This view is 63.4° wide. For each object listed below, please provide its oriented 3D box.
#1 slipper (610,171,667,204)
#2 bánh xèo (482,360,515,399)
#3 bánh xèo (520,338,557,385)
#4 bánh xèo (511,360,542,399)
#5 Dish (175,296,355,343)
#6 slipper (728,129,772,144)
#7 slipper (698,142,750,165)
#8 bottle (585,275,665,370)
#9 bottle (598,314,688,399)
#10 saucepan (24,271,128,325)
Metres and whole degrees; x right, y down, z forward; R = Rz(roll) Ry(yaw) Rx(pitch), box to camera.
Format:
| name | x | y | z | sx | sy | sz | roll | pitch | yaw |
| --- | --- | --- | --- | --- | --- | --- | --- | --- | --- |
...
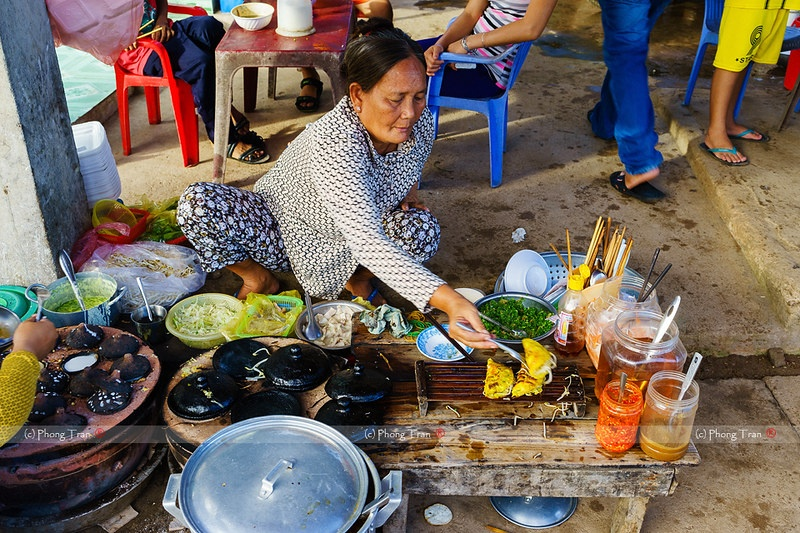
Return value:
| name | x | y | z | sx | sy | sz | roll | pitch | yaw |
| --- | --- | --- | --- | --- | --- | --- | --- | --- | --- |
| slipper | 2.043 | -0.659 | 5.626 | 0.468 | 0.124 | 0.220 | 34 | 60 | 26 |
| bánh xèo | 0.515 | 0.607 | 3.415 | 0.174 | 0.067 | 0.177 | 6 | 62 | 4 |
| bánh xèo | 0.718 | 0.495 | 3.345 | 0.236 | 0.053 | 0.211 | 15 | 63 | -20 |
| bánh xèo | 0.669 | 0.628 | 3.368 | 0.150 | 0.147 | 0.144 | 10 | 38 | 14 |
| Dish | -0.982 | 0.367 | 4.182 | 0.927 | 0.151 | 0.429 | 3 | 39 | 1 |
| slipper | 3.171 | -1.194 | 5.873 | 0.371 | 0.084 | 0.134 | 5 | 53 | 11 |
| slipper | 2.817 | -0.994 | 5.639 | 0.148 | 0.081 | 0.360 | -33 | 45 | -18 |
| bottle | 1.176 | 0.322 | 3.422 | 0.349 | 0.435 | 0.357 | -13 | 37 | -6 |
| bottle | 1.218 | 0.474 | 3.267 | 0.327 | 0.492 | 0.268 | -11 | 42 | -4 |
| saucepan | -2.034 | 0.223 | 4.168 | 0.537 | 0.174 | 0.412 | 3 | 39 | -2 |
